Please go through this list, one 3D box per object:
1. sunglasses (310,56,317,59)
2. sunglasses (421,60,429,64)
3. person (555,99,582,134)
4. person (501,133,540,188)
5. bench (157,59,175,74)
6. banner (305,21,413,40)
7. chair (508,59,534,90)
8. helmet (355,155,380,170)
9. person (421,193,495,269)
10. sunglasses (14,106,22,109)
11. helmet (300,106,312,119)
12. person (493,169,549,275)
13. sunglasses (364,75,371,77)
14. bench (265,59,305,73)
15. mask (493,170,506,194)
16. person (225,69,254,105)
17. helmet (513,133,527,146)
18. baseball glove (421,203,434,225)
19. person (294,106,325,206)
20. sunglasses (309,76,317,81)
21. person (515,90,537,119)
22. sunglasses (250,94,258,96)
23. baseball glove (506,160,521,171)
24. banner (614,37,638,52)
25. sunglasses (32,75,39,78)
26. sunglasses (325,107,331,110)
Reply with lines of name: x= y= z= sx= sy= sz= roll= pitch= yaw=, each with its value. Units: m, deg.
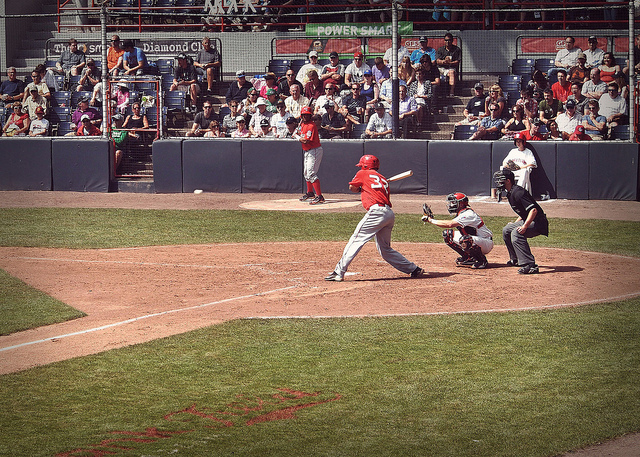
sunglasses: x=-0.189 y=-4.553 z=28.794 sx=0.135 sy=0.063 sz=0.111 roll=2 pitch=6 yaw=12
sunglasses: x=2.774 y=-4.434 z=28.667 sx=0.205 sy=0.075 sz=0.014 roll=-2 pitch=7 yaw=-31
person: x=5.945 y=-2.639 z=25.808 sx=0.909 sy=0.700 sz=0.484 roll=8 pitch=17 yaw=26
person: x=4.418 y=-1.444 z=23.964 sx=0.897 sy=1.359 sz=0.849 roll=1 pitch=-1 yaw=9
bench: x=-4.460 y=-4.702 z=31.228 sx=0.640 sy=0.409 sz=0.577 roll=2 pitch=0 yaw=1
banner: x=1.078 y=-5.081 z=27.681 sx=1.127 sy=0.479 sz=3.262 roll=-3 pitch=7 yaw=-37
chair: x=5.387 y=-4.239 z=29.506 sx=0.810 sy=0.966 sz=0.866 roll=3 pitch=7 yaw=21
helmet: x=0.791 y=-1.106 z=18.148 sx=0.359 sy=0.167 sz=0.256 roll=4 pitch=7 yaw=38
person: x=2.463 y=0.061 z=18.744 sx=1.046 sy=1.304 sz=1.499 roll=2 pitch=6 yaw=9
sunglasses: x=-8.002 y=-3.181 z=28.447 sx=0.250 sy=0.067 sz=0.090 roll=5 pitch=7 yaw=36
helmet: x=-0.326 y=-2.704 z=24.881 sx=0.257 sy=0.198 sz=0.407 roll=-1 pitch=-16 yaw=7
person: x=3.473 y=-0.122 z=18.660 sx=0.901 sy=1.773 sz=0.797 roll=2 pitch=6 yaw=10
sunglasses: x=1.197 y=-3.919 z=27.791 sx=0.172 sy=0.048 sz=0.109 roll=5 pitch=7 yaw=39
bench: x=-0.970 y=-4.601 z=30.605 sx=1.077 sy=0.626 sz=0.423 roll=1 pitch=5 yaw=9
mask: x=3.102 y=-0.807 z=18.498 sx=0.329 sy=0.290 sz=0.239 roll=5 pitch=8 yaw=12
person: x=-2.167 y=-3.667 z=28.569 sx=0.883 sy=0.952 sz=0.782 roll=-2 pitch=14 yaw=-24
helmet: x=4.470 y=-2.008 z=24.107 sx=0.271 sy=0.209 sz=0.406 roll=-5 pitch=-12 yaw=29
baseball glove: x=1.810 y=-0.278 z=18.239 sx=0.222 sy=0.390 sz=0.190 roll=20 pitch=-30 yaw=-23
person: x=-0.200 y=-1.648 z=24.898 sx=0.580 sy=2.241 sz=0.999 roll=1 pitch=6 yaw=-1
sunglasses: x=-0.217 y=-3.897 z=28.205 sx=0.202 sy=0.080 sz=0.049 roll=5 pitch=7 yaw=37
person: x=5.070 y=-3.026 z=26.322 sx=0.301 sy=0.653 sz=0.614 roll=7 pitch=8 yaw=43
sunglasses: x=-1.713 y=-3.443 z=27.898 sx=0.166 sy=0.035 sz=0.065 roll=-2 pitch=6 yaw=-30
baseball glove: x=4.297 y=-1.385 z=23.851 sx=0.279 sy=0.227 sz=0.609 roll=2 pitch=6 yaw=9
banner: x=8.468 y=-5.166 z=30.406 sx=0.342 sy=0.421 sz=0.352 roll=2 pitch=6 yaw=9
sunglasses: x=-7.840 y=-4.187 z=29.744 sx=0.149 sy=0.074 sz=0.081 roll=-2 pitch=6 yaw=-27
sunglasses: x=0.166 y=-2.993 z=26.963 sx=0.081 sy=0.047 sz=0.182 roll=-4 pitch=7 yaw=-41
